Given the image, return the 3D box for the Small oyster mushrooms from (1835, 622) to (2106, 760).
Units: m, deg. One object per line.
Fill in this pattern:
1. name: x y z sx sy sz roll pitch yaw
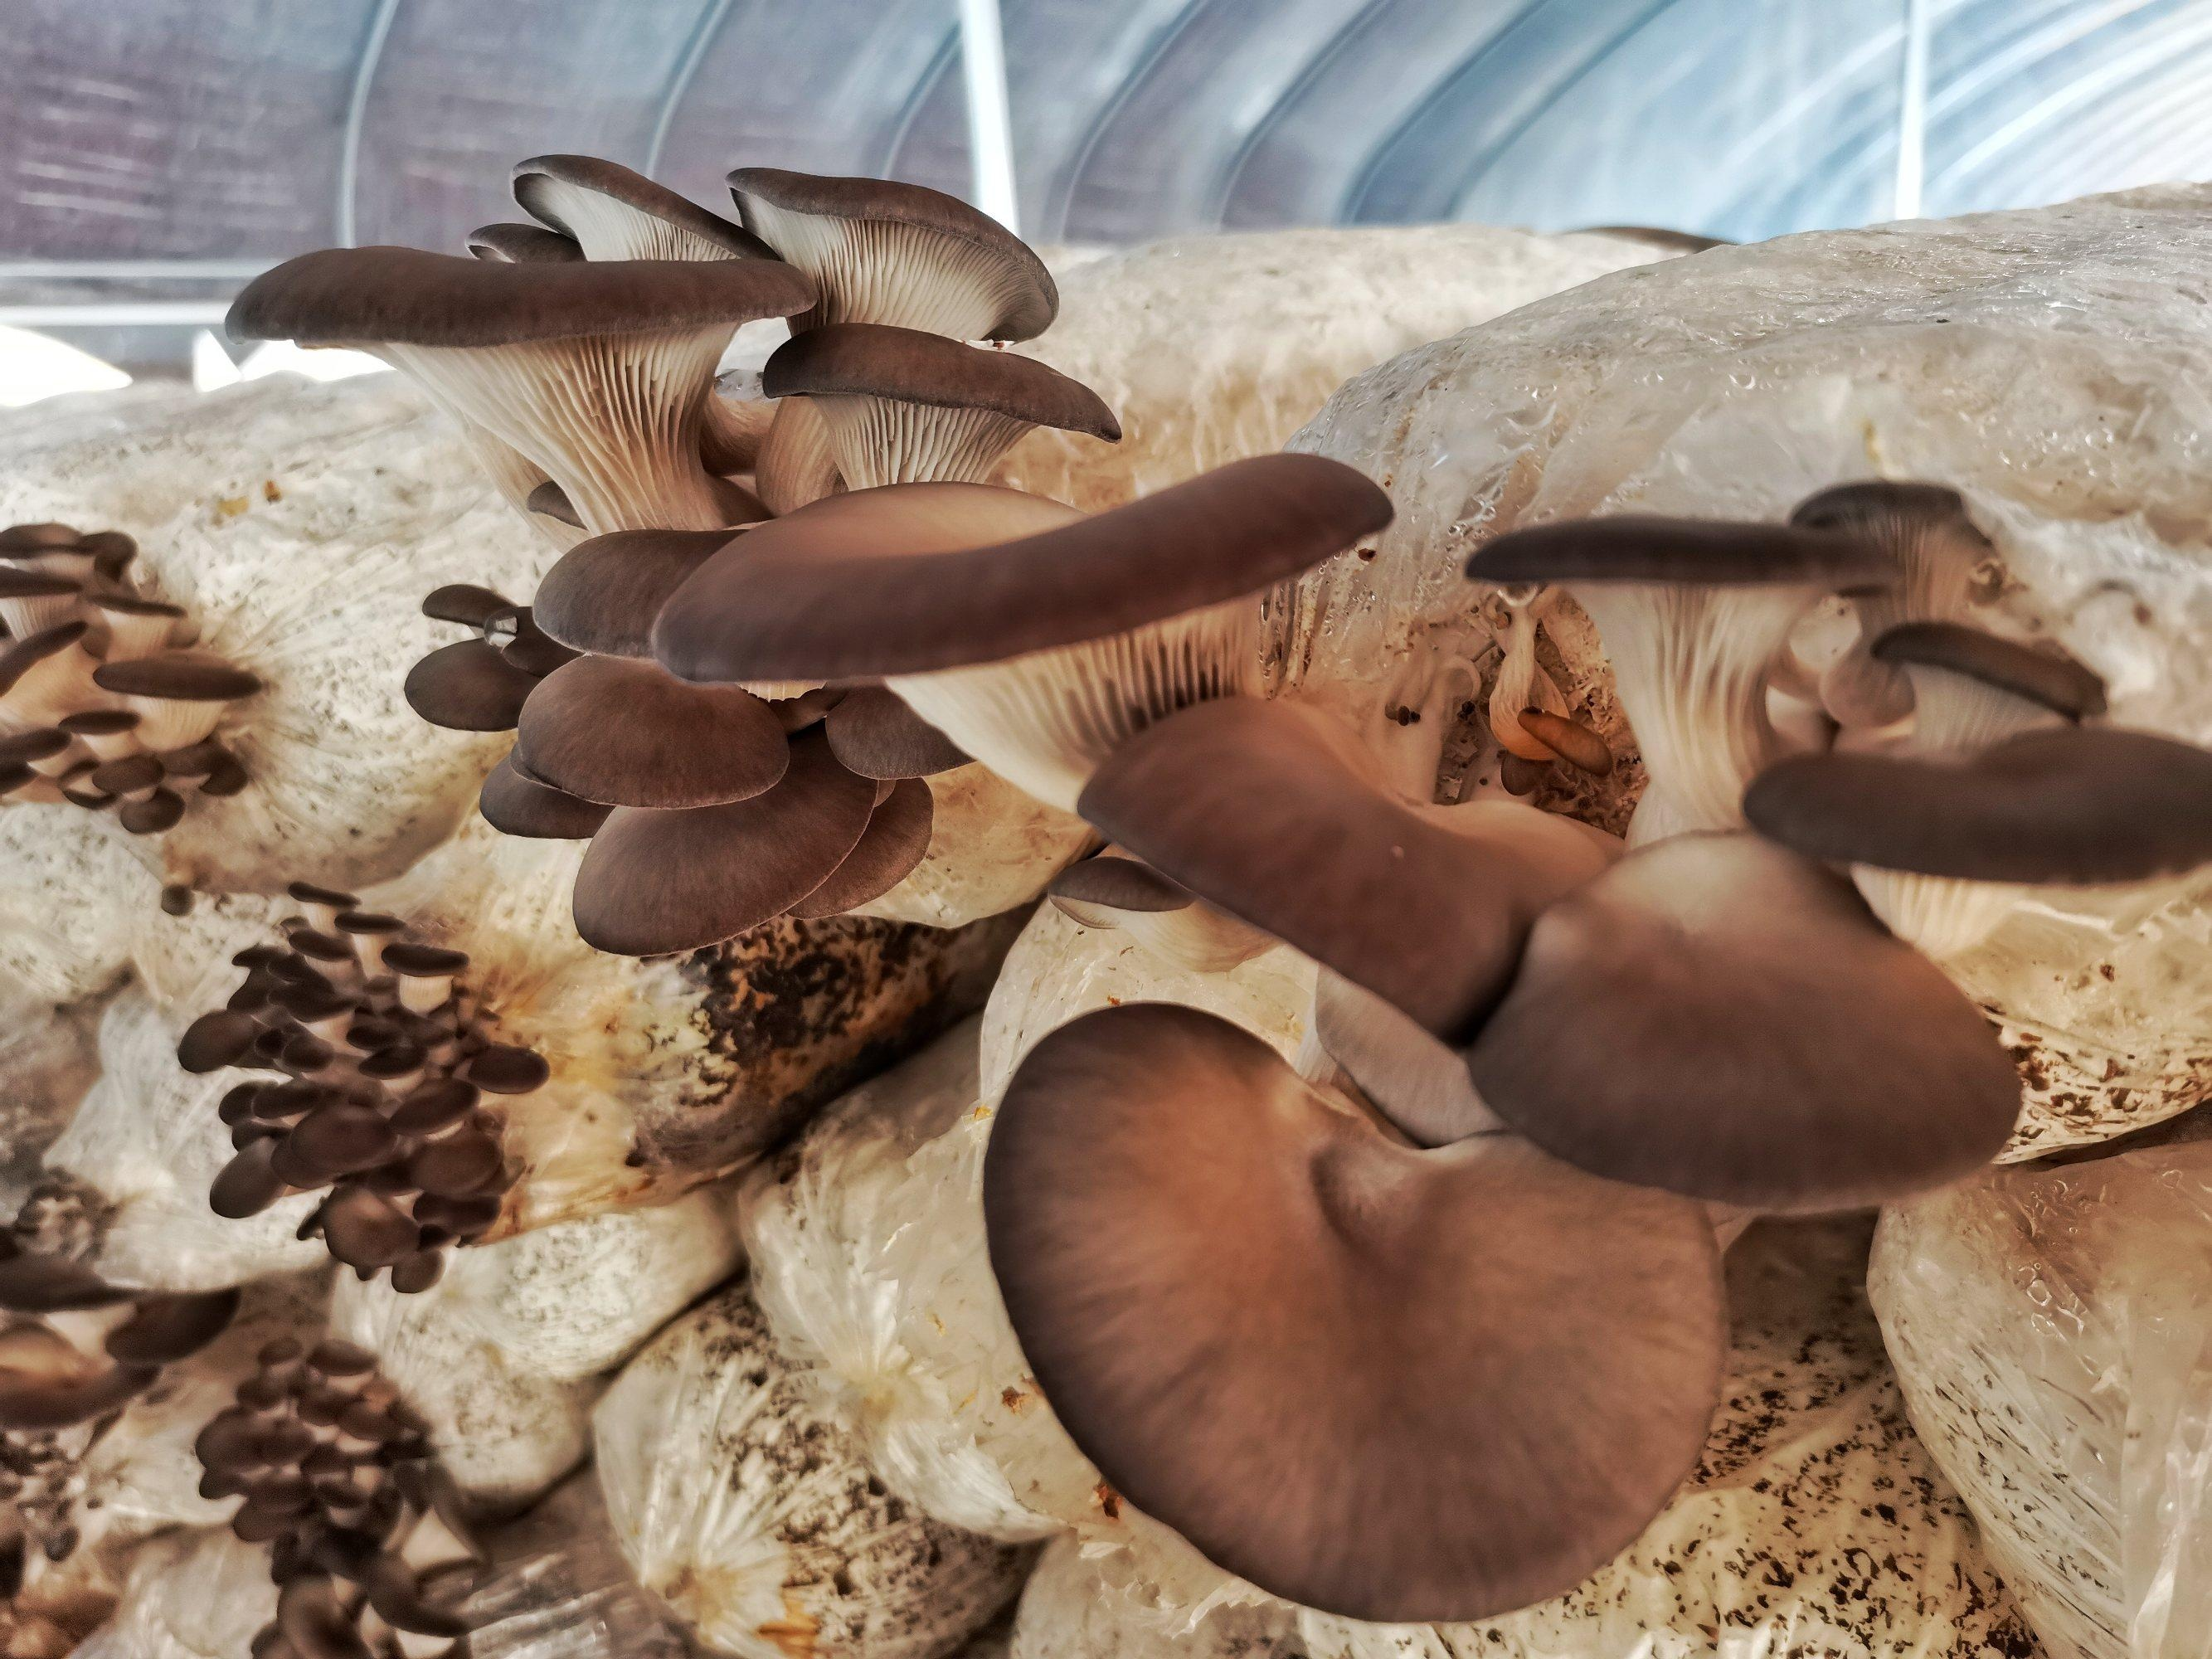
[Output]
1. Small oyster mushrooms: 1.733 -0.291 4.630 0.330 0.135 0.324 15 3 -36
